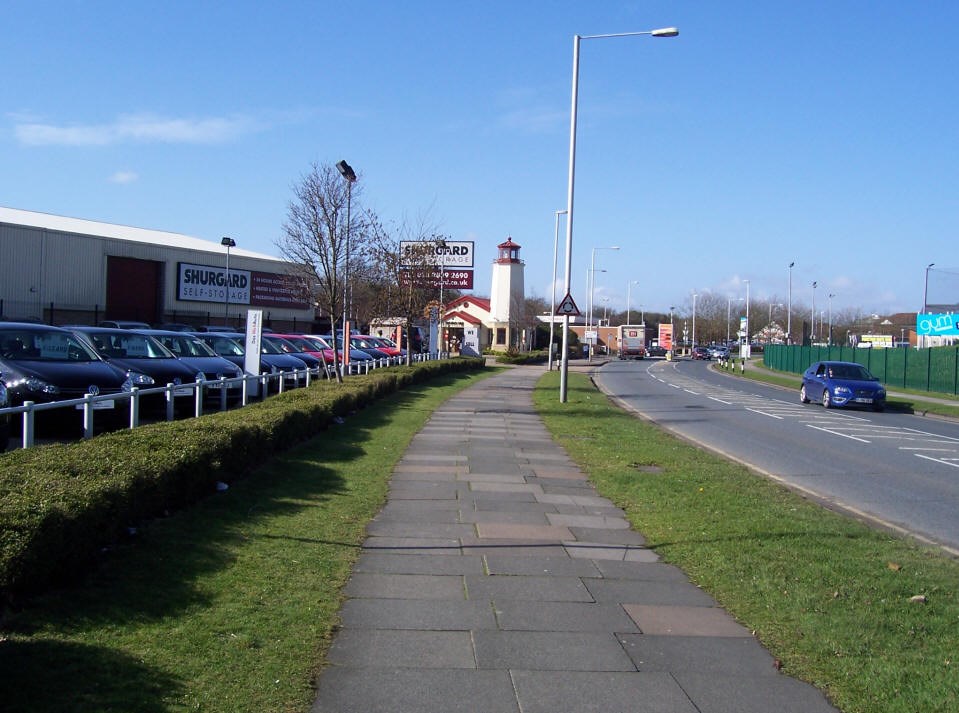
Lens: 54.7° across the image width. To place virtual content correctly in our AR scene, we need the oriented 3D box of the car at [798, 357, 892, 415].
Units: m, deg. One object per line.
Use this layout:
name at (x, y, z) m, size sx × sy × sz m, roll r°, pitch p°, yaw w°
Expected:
car at (12.053, 1.048, 30.728) m, size 1.571 × 1.585 × 3.309 m, roll 3°, pitch 6°, yaw -1°

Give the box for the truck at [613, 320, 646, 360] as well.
truck at (15.636, -1.007, 94.252) m, size 2.928 × 3.295 × 5.705 m, roll 1°, pitch 3°, yaw 2°
